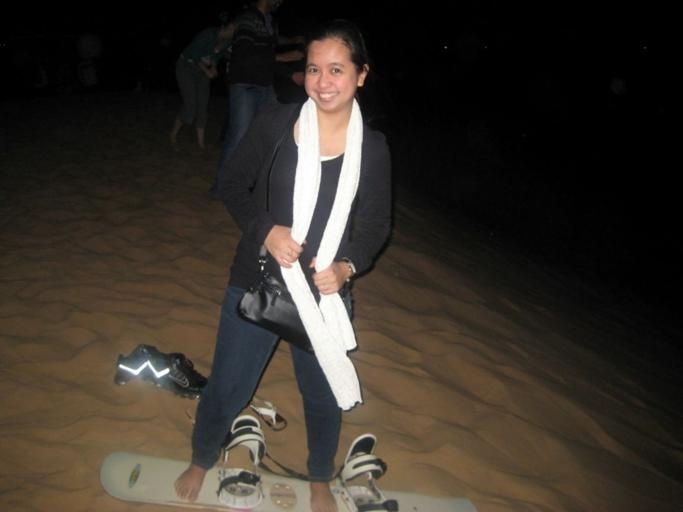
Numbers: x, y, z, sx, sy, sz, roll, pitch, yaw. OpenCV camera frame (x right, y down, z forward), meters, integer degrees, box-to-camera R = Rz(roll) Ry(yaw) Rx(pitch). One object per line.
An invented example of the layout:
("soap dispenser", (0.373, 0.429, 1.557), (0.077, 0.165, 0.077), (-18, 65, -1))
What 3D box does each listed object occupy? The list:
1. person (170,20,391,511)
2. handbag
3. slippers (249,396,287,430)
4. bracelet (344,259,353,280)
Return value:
("person", (-0.331, 0.211, 3.588), (1.153, 3.263, 1.159), (9, 26, 4))
("handbag", (-0.414, 0.376, 3.508), (0.444, 0.335, 0.155), (48, 5, -17))
("slippers", (-0.619, 1.325, 4.511), (0.374, 0.179, 0.123), (39, -14, -11))
("bracelet", (0.048, 0.096, 3.457), (0.039, 0.093, 0.070), (0, -2, -11))
